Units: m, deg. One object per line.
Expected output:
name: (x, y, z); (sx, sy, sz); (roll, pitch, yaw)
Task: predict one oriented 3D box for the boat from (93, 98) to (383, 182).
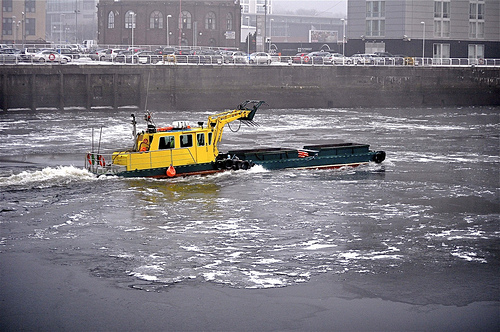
boat: (1.441, -0.993, 55.766); (20.921, 4.321, 5.849); (-4, 11, -22)
